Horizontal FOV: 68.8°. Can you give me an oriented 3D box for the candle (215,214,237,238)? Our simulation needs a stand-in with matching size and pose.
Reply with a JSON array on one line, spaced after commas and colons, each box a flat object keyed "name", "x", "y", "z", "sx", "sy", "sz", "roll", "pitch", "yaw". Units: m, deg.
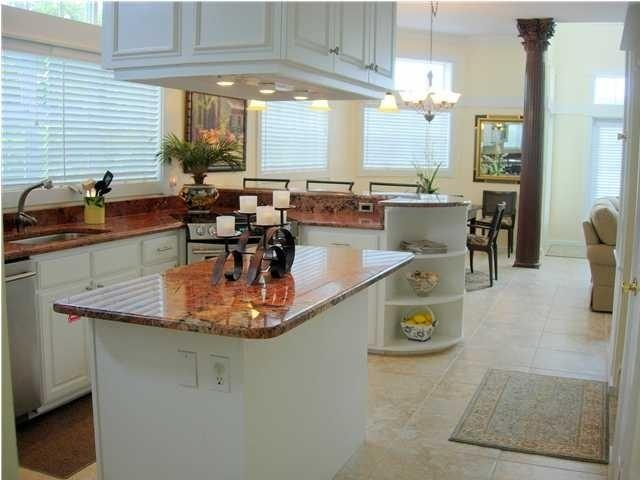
[{"name": "candle", "x": -0.448, "y": -0.062, "z": 2.300, "sx": 0.104, "sy": 0.113, "sz": 0.100, "roll": 2, "pitch": 3, "yaw": 3}]

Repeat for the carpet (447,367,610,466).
[{"name": "carpet", "x": 1.524, "y": 1.167, "z": 3.252, "sx": 0.900, "sy": 0.013, "sz": 1.258, "roll": -2, "pitch": 6, "yaw": 38}]

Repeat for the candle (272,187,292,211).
[{"name": "candle", "x": -0.194, "y": -0.205, "z": 2.443, "sx": 0.127, "sy": 0.132, "sz": 0.120, "roll": 1, "pitch": 1, "yaw": 0}]

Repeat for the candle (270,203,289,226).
[{"name": "candle", "x": -0.187, "y": -0.124, "z": 2.411, "sx": 0.107, "sy": 0.125, "sz": 0.106, "roll": 0, "pitch": -1, "yaw": 14}]

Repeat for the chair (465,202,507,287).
[{"name": "chair", "x": 2.312, "y": 0.070, "z": 6.763, "sx": 0.679, "sy": 1.043, "sz": 0.778, "roll": -7, "pitch": 8, "yaw": -43}]

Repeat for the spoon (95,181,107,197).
[{"name": "spoon", "x": -1.813, "y": -0.421, "z": 3.858, "sx": 0.060, "sy": 0.153, "sz": 0.024, "roll": 13, "pitch": 16, "yaw": 11}]

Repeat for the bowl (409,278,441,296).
[{"name": "bowl", "x": 0.922, "y": 0.413, "z": 4.113, "sx": 0.186, "sy": 0.131, "sz": 0.185, "roll": 0, "pitch": 3, "yaw": 0}]

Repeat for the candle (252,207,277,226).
[{"name": "candle", "x": -0.262, "y": -0.110, "z": 2.301, "sx": 0.094, "sy": 0.069, "sz": 0.093, "roll": 1, "pitch": 4, "yaw": -9}]

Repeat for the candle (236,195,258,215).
[{"name": "candle", "x": -0.373, "y": -0.174, "z": 2.427, "sx": 0.081, "sy": 0.090, "sz": 0.113, "roll": -1, "pitch": 10, "yaw": -6}]

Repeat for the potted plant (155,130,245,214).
[{"name": "potted plant", "x": -1.249, "y": -0.662, "z": 4.815, "sx": 0.824, "sy": 0.758, "sz": 0.786, "roll": 1, "pitch": 9, "yaw": 2}]
